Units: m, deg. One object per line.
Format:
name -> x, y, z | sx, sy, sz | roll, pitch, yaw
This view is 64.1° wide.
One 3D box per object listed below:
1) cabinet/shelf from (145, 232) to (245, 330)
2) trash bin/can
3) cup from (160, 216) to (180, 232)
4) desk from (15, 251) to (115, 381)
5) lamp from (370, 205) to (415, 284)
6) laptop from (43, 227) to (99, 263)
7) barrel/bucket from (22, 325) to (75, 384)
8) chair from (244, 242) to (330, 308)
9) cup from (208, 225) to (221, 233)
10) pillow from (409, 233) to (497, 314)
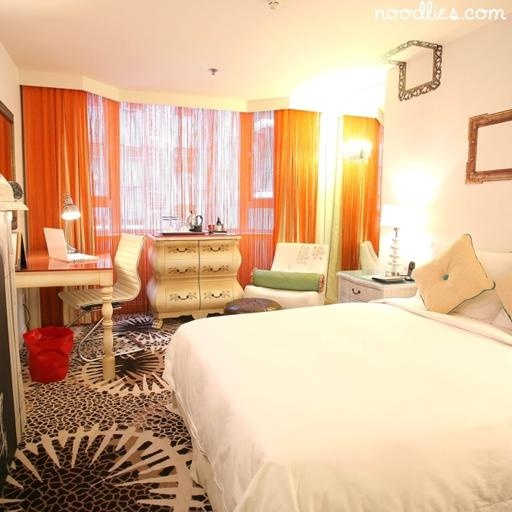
cabinet/shelf -> -0.796, 0.276, 5.218 | 1.143, 1.037, 0.687 | -2, 3, -21
trash bin/can -> -1.667, 0.796, 3.336 | 0.340, 0.374, 0.356 | -5, 11, -30
cup -> -1.099, -0.421, 5.273 | 0.257, 0.245, 0.257 | 0, 1, 0
desk -> -1.521, 0.218, 3.631 | 0.852, 0.968, 1.421 | -2, 7, -17
lamp -> 1.361, -0.085, 4.014 | 0.321, 0.661, 0.313 | 0, 1, -38
laptop -> -1.611, -0.093, 3.619 | 0.347, 0.288, 0.496 | -2, 6, -34
barrel/bucket -> -1.621, 0.747, 3.389 | 0.426, 0.416, 0.431 | -2, 7, 0
chair -> 0.397, 0.300, 4.903 | 0.941, 0.832, 0.815 | 5, 14, 31
cup -> -0.533, -0.360, 5.268 | 0.206, 0.095, 0.135 | 2, 9, 11
pillow -> 1.278, 0.100, 2.867 | 0.647, 0.632, 0.133 | -10, 22, 1
